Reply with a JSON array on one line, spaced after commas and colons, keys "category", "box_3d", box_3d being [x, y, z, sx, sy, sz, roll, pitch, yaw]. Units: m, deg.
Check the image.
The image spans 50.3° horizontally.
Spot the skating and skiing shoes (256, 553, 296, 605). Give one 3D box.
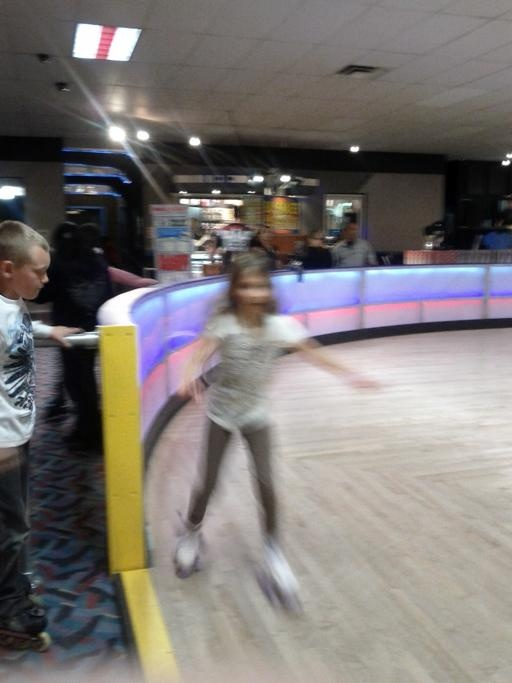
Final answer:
[{"category": "skating and skiing shoes", "box_3d": [0.075, 0.779, 1.825, 0.207, 0.118, 0.196, 1, 10, 0]}]

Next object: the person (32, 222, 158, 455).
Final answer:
[{"category": "person", "box_3d": [-0.957, -0.090, 3.603, 0.711, 1.473, 0.770, 0, 14, -31]}]

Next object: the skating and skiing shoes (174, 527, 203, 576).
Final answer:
[{"category": "skating and skiing shoes", "box_3d": [-0.242, 0.735, 1.935, 0.094, 0.166, 0.059, 16, -17, -26]}]
